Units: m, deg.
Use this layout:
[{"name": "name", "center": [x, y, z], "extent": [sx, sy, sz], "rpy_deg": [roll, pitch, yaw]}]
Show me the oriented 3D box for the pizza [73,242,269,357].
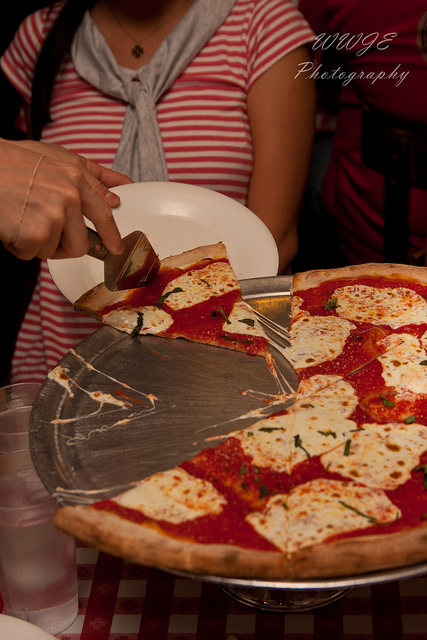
[{"name": "pizza", "center": [-0.028, -0.054, 1.383], "extent": [0.504, 0.073, 0.414], "rpy_deg": [26, 51, 32]}]
